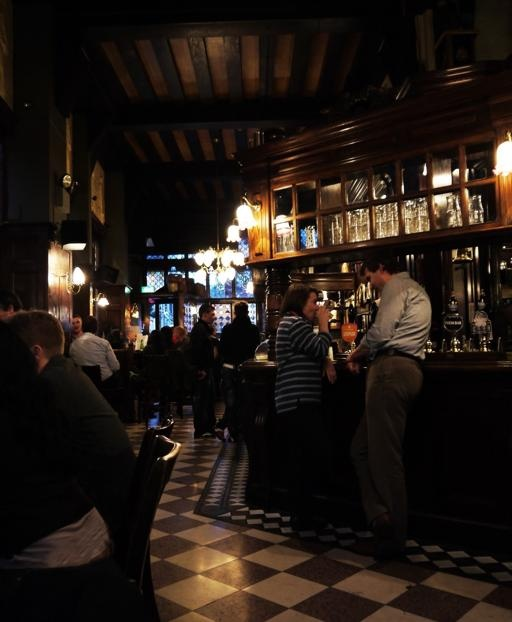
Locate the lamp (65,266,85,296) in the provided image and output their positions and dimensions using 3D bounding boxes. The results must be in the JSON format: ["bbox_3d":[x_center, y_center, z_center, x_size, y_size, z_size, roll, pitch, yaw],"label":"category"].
[{"bbox_3d":[-3.180,-0.515,9.592,0.269,0.565,1.859,-1,-3,-17],"label":"lamp"}]

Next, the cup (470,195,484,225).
[{"bbox_3d":[1.314,-0.611,3.219,0.081,0.176,0.067,-2,-2,26],"label":"cup"}]

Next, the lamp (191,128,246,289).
[{"bbox_3d":[-0.859,-1.637,12.503,0.930,2.007,0.905,-2,2,-43],"label":"lamp"}]

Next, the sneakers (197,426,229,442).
[{"bbox_3d":[-0.536,1.482,6.451,0.363,0.202,0.140,8,-10,21],"label":"sneakers"}]

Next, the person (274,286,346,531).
[{"bbox_3d":[0.304,0.565,3.273,0.365,1.436,0.486,-1,-2,6],"label":"person"}]

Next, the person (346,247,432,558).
[{"bbox_3d":[0.702,0.453,2.873,0.423,1.582,0.573,-2,-2,26],"label":"person"}]

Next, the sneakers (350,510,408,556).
[{"bbox_3d":[0.643,1.130,2.717,0.128,0.191,0.402,0,-10,4],"label":"sneakers"}]

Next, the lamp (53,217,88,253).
[{"bbox_3d":[-2.849,-1.176,8.285,0.364,0.500,0.547,2,9,-12],"label":"lamp"}]
